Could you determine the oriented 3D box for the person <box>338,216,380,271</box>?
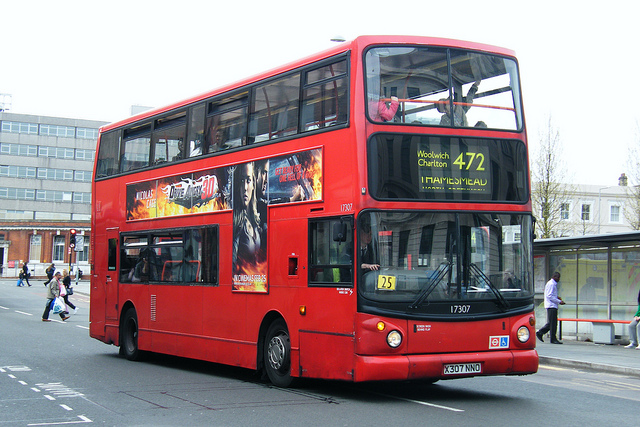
[{"bbox_3d":[0.712,0.530,10.211,0.675,0.939,0.222,-5,-7,38],"label":"person"}]
